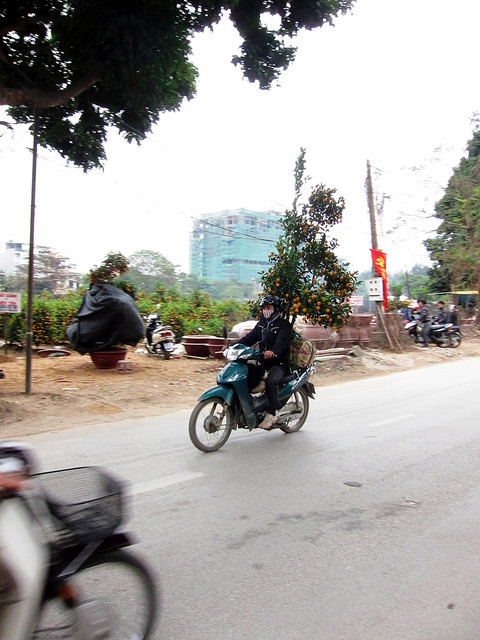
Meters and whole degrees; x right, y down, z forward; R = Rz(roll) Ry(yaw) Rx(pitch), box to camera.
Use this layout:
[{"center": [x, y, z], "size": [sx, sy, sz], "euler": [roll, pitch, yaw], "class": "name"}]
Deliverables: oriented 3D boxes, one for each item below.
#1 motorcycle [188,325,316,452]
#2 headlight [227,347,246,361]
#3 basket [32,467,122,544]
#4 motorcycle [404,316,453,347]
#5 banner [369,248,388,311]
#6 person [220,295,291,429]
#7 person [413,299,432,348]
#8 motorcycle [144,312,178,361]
[{"center": [0.236, 0.842, 5.753], "size": [2.020, 1.336, 0.763], "euler": [3, -1, -41], "class": "motorcycle"}, {"center": [-0.049, 0.397, 5.400], "size": [0.196, 0.129, 0.092], "euler": [0, -1, 3], "class": "headlight"}, {"center": [-0.569, 0.633, 1.629], "size": [0.248, 0.141, 0.431], "euler": [1, -2, -29], "class": "basket"}, {"center": [8.680, 0.536, 21.426], "size": [2.601, 1.530, 1.241], "euler": [2, 5, 10], "class": "motorcycle"}, {"center": [5.986, -1.839, 20.210], "size": [0.637, 2.785, 2.205], "euler": [0, -1, 15], "class": "banner"}, {"center": [0.250, 0.456, 5.892], "size": [0.963, 1.598, 0.766], "euler": [-9, 20, -18], "class": "person"}, {"center": [8.080, 0.140, 20.658], "size": [0.614, 2.116, 1.274], "euler": [0, -1, 19], "class": "person"}, {"center": [-2.589, 0.523, 14.972], "size": [0.665, 1.522, 1.382], "euler": [1, -1, -35], "class": "motorcycle"}]
